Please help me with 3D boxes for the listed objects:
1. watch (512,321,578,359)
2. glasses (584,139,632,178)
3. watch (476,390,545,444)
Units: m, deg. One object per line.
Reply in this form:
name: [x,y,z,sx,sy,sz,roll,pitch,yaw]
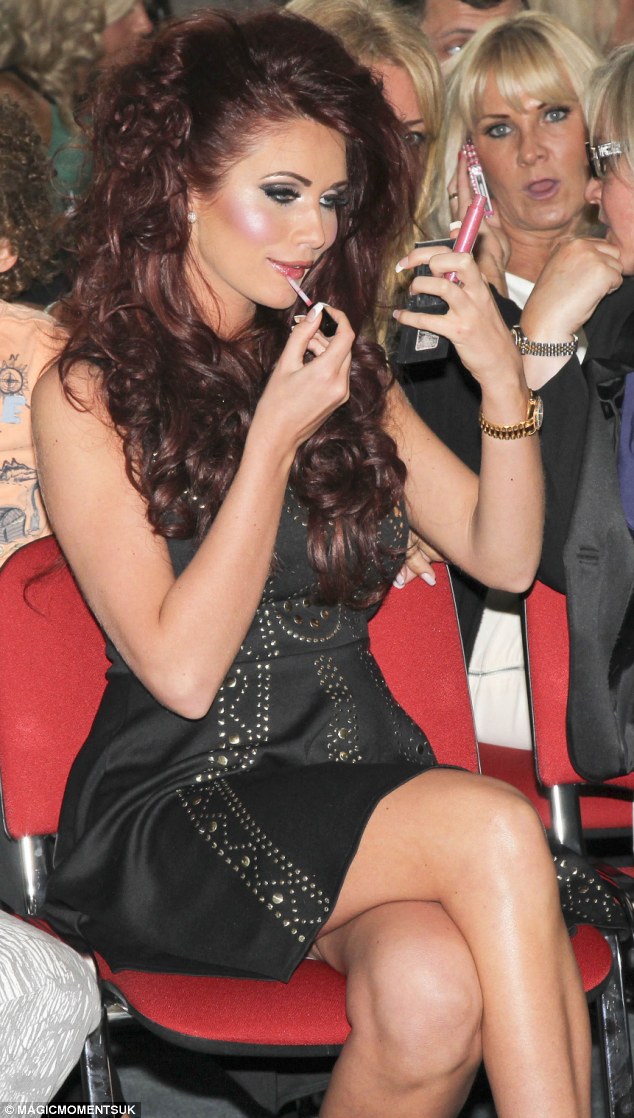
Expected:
watch: [0.359,-0.322,1.446,0.090,0.035,0.089,1,-2,12]
glasses: [0.448,-0.620,1.440,0.037,0.053,0.027,-1,15,6]
watch: [0.238,-0.171,1.111,0.061,0.028,0.059,7,25,39]
